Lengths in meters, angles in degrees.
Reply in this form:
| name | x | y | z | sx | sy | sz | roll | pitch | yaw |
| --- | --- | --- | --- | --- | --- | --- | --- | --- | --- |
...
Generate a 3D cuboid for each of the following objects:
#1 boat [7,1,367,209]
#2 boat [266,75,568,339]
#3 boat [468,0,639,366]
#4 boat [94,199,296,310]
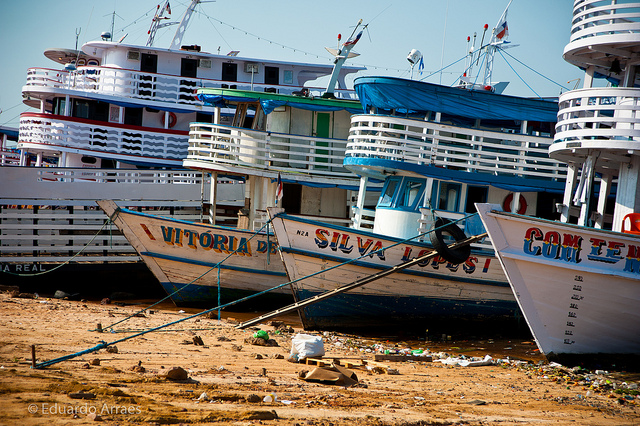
| name | x | y | z | sx | sy | sz | roll | pitch | yaw |
| --- | --- | --- | --- | --- | --- | --- | --- | --- | --- |
| boat | -5.647 | -3.976 | 48.989 | 11.870 | 5.744 | 10.660 | 3 | -2 | -21 |
| boat | 3.147 | -0.033 | 41.065 | 7.439 | 5.709 | 10.255 | 9 | -8 | -14 |
| boat | 7.280 | -1.118 | 36.433 | 5.377 | 10.374 | 6.329 | 5 | 6 | 10 |
| boat | -5.134 | 1.342 | 37.589 | 7.851 | 2.277 | 2.609 | 8 | -18 | -10 |
